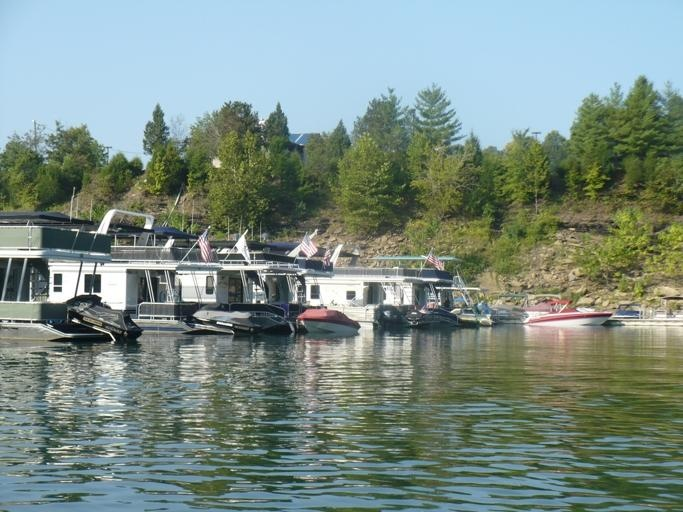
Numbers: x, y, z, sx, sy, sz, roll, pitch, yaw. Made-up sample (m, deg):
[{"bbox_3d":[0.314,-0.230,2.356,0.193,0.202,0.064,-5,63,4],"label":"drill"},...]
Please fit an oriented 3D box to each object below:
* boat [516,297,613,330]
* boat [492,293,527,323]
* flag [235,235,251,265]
[{"bbox_3d":[22.223,5.597,114.408,10.125,3.187,3.017,0,-2,23],"label":"boat"},{"bbox_3d":[17.156,5.778,121.101,2.099,2.242,7.812,0,-4,4],"label":"boat"},{"bbox_3d":[-7.547,-0.450,91.307,1.411,0.456,3.947,27,27,-18],"label":"flag"}]
